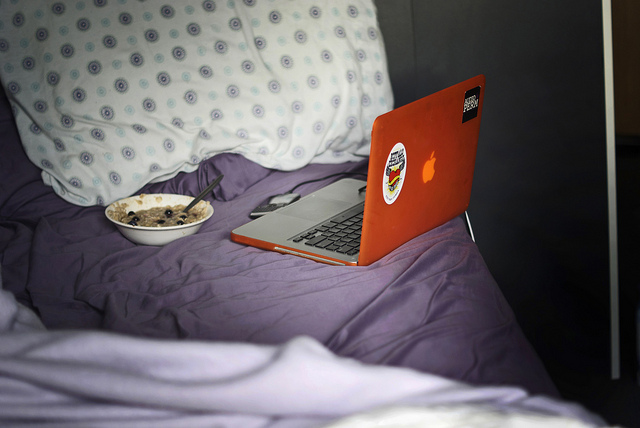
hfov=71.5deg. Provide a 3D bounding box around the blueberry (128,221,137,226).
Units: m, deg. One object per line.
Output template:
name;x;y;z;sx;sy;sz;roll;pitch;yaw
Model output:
blueberry;-0.520;0.024;1.232;0.010;0.011;0.015;15;5;23

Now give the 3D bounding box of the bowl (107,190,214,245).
bowl;-0.484;0.018;1.275;0.260;0.097;0.264;11;21;-5

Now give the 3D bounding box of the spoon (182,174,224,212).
spoon;-0.366;-0.063;1.397;0.021;0.021;0.185;14;44;36

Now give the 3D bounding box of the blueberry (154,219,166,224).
blueberry;-0.446;0.021;1.242;0.010;0.010;0.014;18;9;20

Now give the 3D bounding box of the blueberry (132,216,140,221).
blueberry;-0.521;0.012;1.256;0.008;0.009;0.013;17;12;27

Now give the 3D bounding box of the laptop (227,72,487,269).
laptop;0.116;-0.161;1.273;0.518;0.395;0.604;19;29;41

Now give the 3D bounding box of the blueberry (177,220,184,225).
blueberry;-0.390;0.023;1.240;0.012;0.012;0.008;1;-14;-6

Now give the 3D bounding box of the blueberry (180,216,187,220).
blueberry;-0.390;0.010;1.271;0.007;0.011;0.011;4;3;40

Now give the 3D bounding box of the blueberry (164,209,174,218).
blueberry;-0.438;-0.003;1.285;0.022;0.006;0.017;-3;64;21
